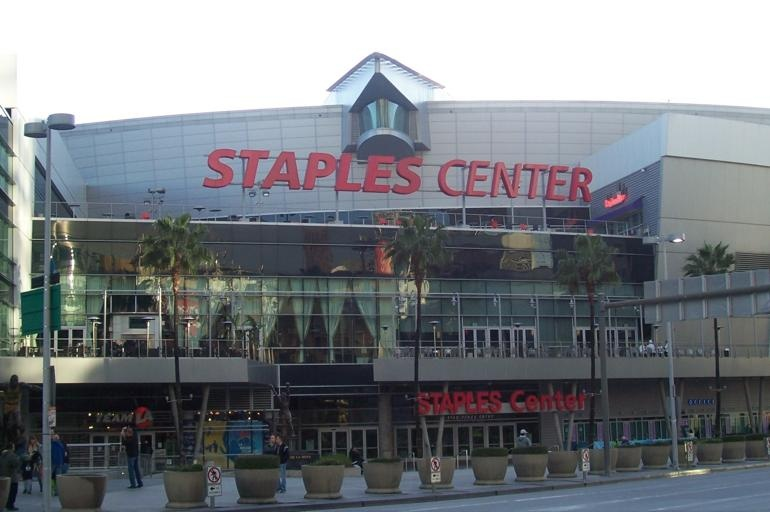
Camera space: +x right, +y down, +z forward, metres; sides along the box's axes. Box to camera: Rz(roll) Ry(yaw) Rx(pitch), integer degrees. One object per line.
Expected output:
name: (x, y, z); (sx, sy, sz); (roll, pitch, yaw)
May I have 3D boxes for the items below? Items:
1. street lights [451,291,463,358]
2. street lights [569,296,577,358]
street lights: (5.680, 4.842, 100.058); (0.905, 3.956, 0.358); (5, -13, -26)
street lights: (14.902, 4.960, 102.720); (0.617, 3.547, 0.440); (10, -16, -42)
